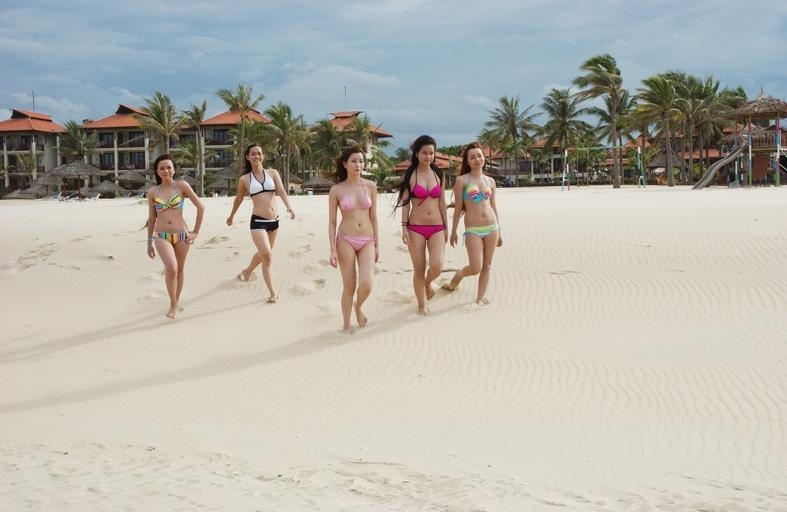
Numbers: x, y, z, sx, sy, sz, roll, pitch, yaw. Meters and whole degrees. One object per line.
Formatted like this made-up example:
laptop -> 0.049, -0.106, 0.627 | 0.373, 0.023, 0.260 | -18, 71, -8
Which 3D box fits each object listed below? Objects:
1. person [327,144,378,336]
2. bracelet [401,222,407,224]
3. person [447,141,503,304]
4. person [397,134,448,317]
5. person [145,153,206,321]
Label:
person -> -0.513, -0.207, 8.465 | 0.597, 2.309, 0.461 | 1, 5, 4
bracelet -> 0.143, -0.439, 8.887 | 0.055, 0.036, 0.054 | -4, 2, -22
person -> 1.108, -0.443, 9.321 | 0.652, 2.201, 0.714 | -1, 6, -19
person -> 0.375, -0.389, 8.929 | 0.640, 2.337, 0.924 | 1, 6, 3
person -> -3.074, -0.275, 9.411 | 0.743, 2.248, 0.628 | -1, 6, -17
